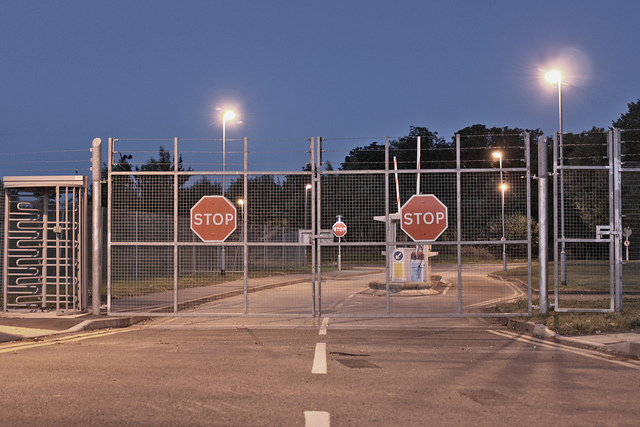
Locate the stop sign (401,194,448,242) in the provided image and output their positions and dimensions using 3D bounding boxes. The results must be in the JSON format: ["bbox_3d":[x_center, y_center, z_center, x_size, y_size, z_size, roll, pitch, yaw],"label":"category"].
[{"bbox_3d":[2.924,0.115,24.601,1.348,1.187,0.127,4,-3,-2],"label":"stop sign"}]

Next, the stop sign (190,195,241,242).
[{"bbox_3d":[-2.931,0.124,24.878,1.359,1.263,0.375,-1,11,-5],"label":"stop sign"}]

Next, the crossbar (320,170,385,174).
[{"bbox_3d":[0.890,-1.148,24.630,1.774,0.130,0.261,0,10,3],"label":"crossbar"}]

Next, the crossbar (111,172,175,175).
[{"bbox_3d":[-4.938,-1.118,24.858,1.791,0.086,0.286,0,9,0],"label":"crossbar"}]

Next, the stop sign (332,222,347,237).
[{"bbox_3d":[0.543,0.426,24.744,0.456,0.412,0.057,2,-2,-45],"label":"stop sign"}]
